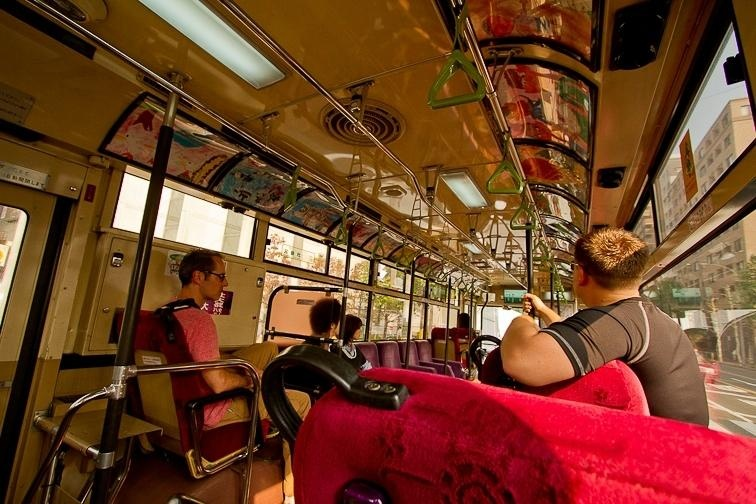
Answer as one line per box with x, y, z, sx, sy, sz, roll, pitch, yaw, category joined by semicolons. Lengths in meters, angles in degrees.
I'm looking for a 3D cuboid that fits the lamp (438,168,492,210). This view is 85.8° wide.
1.246;-0.870;5.760;0.511;0.511;1.260;5;10;20;lamp

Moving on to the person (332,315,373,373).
-0.330;1.156;5.176;0.345;0.698;0.868;-10;-1;-33;person
